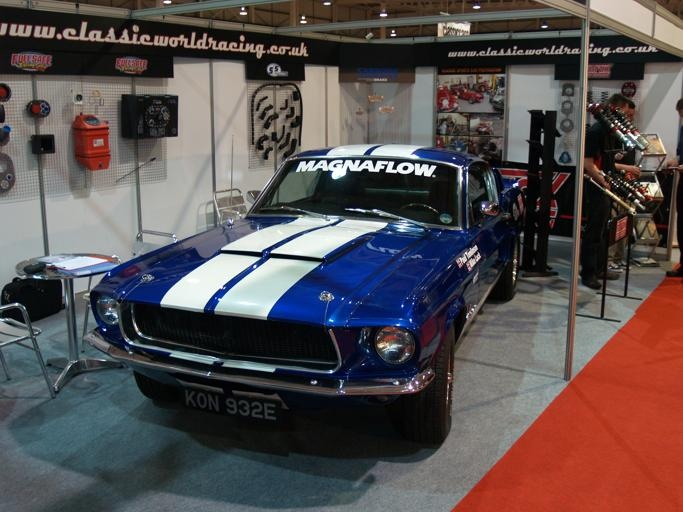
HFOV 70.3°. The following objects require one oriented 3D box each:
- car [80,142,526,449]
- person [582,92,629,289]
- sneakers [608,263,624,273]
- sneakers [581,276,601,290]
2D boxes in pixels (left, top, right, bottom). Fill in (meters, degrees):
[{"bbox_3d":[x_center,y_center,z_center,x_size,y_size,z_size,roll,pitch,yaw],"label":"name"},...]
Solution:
[{"bbox_3d":[0.042,0.062,4.206,2.342,1.970,3.575,7,16,26],"label":"car"},{"bbox_3d":[3.521,-0.870,6.564,0.558,2.567,1.049,8,17,25],"label":"person"},{"bbox_3d":[4.143,0.181,7.312,0.137,0.063,0.261,-6,10,2],"label":"sneakers"},{"bbox_3d":[3.415,0.369,6.601,0.119,0.110,0.299,-5,10,-6],"label":"sneakers"}]
